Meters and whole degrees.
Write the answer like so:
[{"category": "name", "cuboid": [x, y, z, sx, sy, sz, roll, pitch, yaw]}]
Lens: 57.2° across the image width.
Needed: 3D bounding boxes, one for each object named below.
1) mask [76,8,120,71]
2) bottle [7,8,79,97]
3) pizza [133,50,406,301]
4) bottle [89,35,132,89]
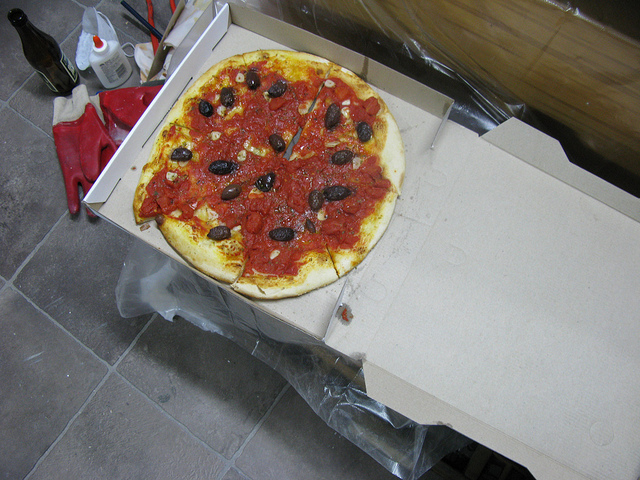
[{"category": "mask", "cuboid": [-1.136, -0.993, 2.958, 0.233, 0.113, 0.290, -9, 105, -13]}, {"category": "bottle", "cuboid": [-1.364, -0.895, 2.879, 0.128, 0.449, 0.141, -22, 82, -3]}, {"category": "pizza", "cuboid": [-0.178, -0.280, 2.321, 0.996, 0.129, 1.002, 33, 84, 4]}, {"category": "bottle", "cuboid": [-1.017, -0.842, 2.823, 0.166, 0.299, 0.107, -42, 77, -6]}]
